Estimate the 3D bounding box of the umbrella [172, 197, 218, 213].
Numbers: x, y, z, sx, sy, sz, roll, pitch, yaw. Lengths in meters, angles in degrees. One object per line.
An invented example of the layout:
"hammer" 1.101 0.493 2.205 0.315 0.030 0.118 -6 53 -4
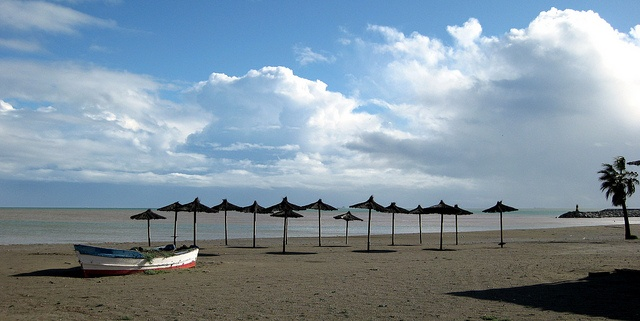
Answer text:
"umbrella" -11.914 4.338 42.780 3.158 1.568 5.715 1 -3 -2
